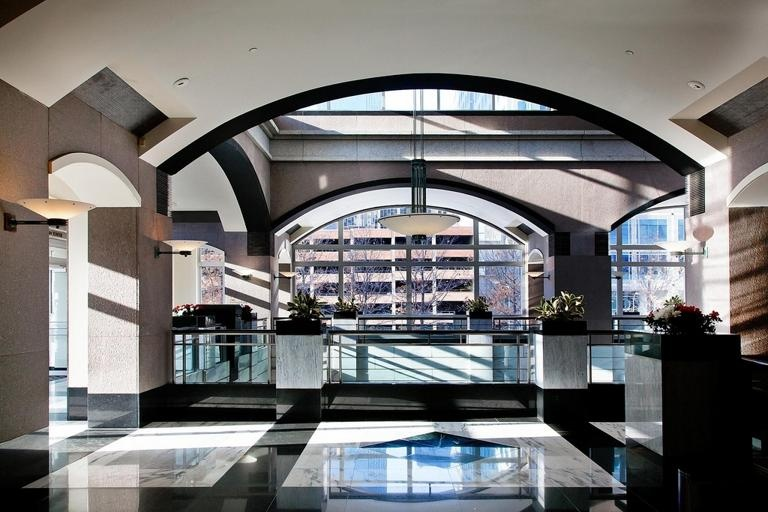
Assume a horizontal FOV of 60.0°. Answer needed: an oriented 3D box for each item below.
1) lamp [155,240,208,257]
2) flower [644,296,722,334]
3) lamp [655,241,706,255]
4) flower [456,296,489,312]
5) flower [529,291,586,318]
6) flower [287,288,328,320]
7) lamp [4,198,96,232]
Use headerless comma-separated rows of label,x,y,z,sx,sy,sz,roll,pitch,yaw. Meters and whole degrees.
lamp,-3.778,-0.156,12.125,0.599,0.157,0.427,-4,-7,27
flower,4.248,0.887,9.456,0.903,0.469,0.632,-4,8,-23
lamp,5.518,-0.144,12.294,0.290,0.278,0.873,-5,8,-33
flower,2.813,1.488,20.936,1.073,0.694,1.071,-3,-2,17
flower,3.371,0.962,12.416,1.150,0.581,1.130,0,-5,0
flower,-1.550,0.968,12.883,1.042,0.717,0.980,1,-4,3
lamp,-4.674,-0.592,9.153,0.730,0.256,0.583,-1,-7,6
